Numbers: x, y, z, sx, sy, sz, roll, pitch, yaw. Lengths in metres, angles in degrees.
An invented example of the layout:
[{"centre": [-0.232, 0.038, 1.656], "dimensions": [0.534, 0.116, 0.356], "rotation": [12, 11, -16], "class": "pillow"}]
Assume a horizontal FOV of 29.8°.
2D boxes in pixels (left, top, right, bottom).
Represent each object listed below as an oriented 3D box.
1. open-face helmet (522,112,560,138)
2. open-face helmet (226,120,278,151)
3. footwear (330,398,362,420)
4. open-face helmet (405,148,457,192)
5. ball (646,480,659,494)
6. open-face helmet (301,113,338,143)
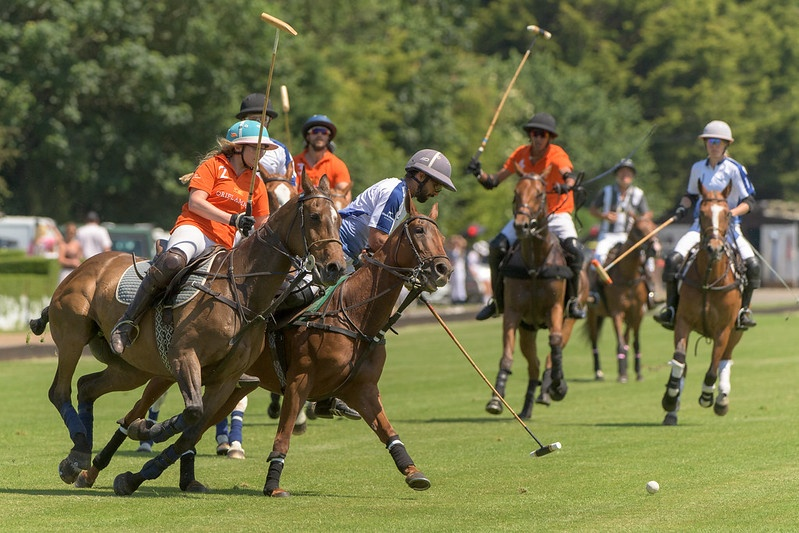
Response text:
[{"centre": [2.730, -2.799, 29.286], "dimensions": [0.558, 0.241, 0.527], "rotation": [6, -2, 10], "class": "open-face helmet"}, {"centre": [-2.543, -2.214, 25.156], "dimensions": [0.641, 0.283, 0.509], "rotation": [4, 2, 20], "class": "open-face helmet"}, {"centre": [-0.975, 2.476, 26.230], "dimensions": [0.257, 0.275, 0.747], "rotation": [-2, -10, 31], "class": "footwear"}, {"centre": [0.596, -1.671, 25.435], "dimensions": [0.814, 0.411, 0.648], "rotation": [20, -2, 4], "class": "open-face helmet"}, {"centre": [4.154, 3.607, 24.740], "dimensions": [0.200, 0.187, 0.193], "rotation": [-23, -29, -14], "class": "ball"}, {"centre": [-1.587, -2.713, 29.362], "dimensions": [0.626, 0.538, 0.573], "rotation": [2, 3, 2], "class": "open-face helmet"}]
